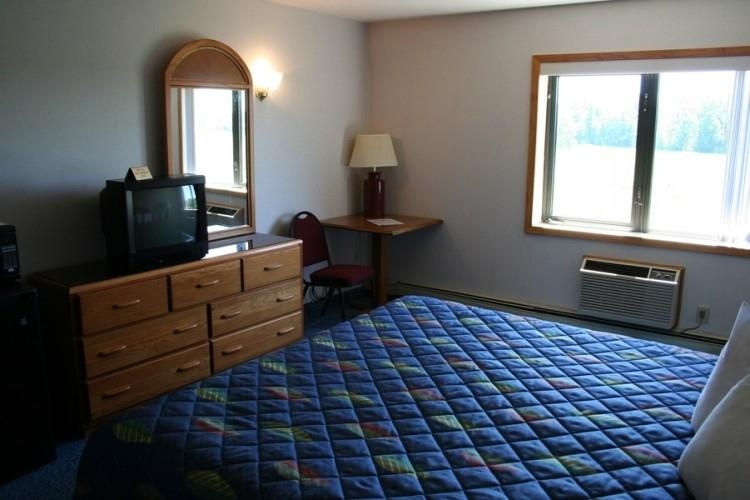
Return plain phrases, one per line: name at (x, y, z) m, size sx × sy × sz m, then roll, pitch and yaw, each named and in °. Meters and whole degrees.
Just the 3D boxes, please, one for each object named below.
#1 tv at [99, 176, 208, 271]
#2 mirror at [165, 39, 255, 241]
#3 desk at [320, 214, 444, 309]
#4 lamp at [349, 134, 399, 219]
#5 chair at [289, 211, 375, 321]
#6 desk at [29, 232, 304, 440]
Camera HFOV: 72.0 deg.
tv at (-1.801, -0.246, 4.043) m, size 0.545 × 0.661 × 0.760 m, roll 9°, pitch 14°, yaw 25°
mirror at (-1.431, -1.003, 4.396) m, size 0.740 × 1.367 × 0.055 m, roll 5°, pitch 11°, yaw 4°
desk at (0.046, -0.013, 5.744) m, size 1.092 × 0.963 × 1.076 m, roll 5°, pitch 9°, yaw 34°
lamp at (-0.030, -0.835, 5.680) m, size 0.509 × 0.872 × 0.469 m, roll 1°, pitch 16°, yaw -3°
chair at (-0.410, 0.191, 5.226) m, size 0.789 × 1.084 × 0.646 m, roll 8°, pitch 13°, yaw 31°
desk at (-1.552, 0.539, 4.257) m, size 0.699 × 0.974 × 2.011 m, roll 6°, pitch 12°, yaw 35°
